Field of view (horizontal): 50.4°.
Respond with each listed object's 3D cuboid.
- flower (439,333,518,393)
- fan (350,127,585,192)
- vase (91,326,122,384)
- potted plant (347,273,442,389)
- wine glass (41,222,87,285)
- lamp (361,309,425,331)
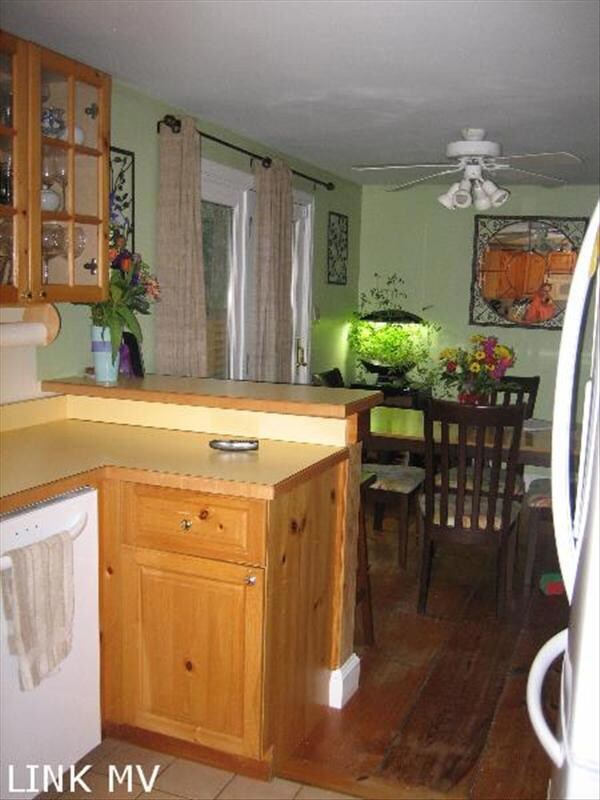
[{"bbox_3d":[1.158,-0.242,4.001,0.402,0.379,0.402,23,-21,-30],"label":"flower"},{"bbox_3d":[0.825,-1.174,3.015,1.001,0.215,1.036,1,18,11],"label":"fan"},{"bbox_3d":[-0.749,-0.176,2.450,0.106,0.218,0.250,0,7,-18],"label":"vase"},{"bbox_3d":[0.822,-0.630,5.850,0.925,1.150,0.925,3,7,36],"label":"potted plant"},{"bbox_3d":[-0.787,-0.492,2.140,0.159,0.215,0.176,4,11,4],"label":"wine glass"},{"bbox_3d":[0.781,-0.707,5.456,0.517,0.124,0.126,3,7,4],"label":"lamp"}]
